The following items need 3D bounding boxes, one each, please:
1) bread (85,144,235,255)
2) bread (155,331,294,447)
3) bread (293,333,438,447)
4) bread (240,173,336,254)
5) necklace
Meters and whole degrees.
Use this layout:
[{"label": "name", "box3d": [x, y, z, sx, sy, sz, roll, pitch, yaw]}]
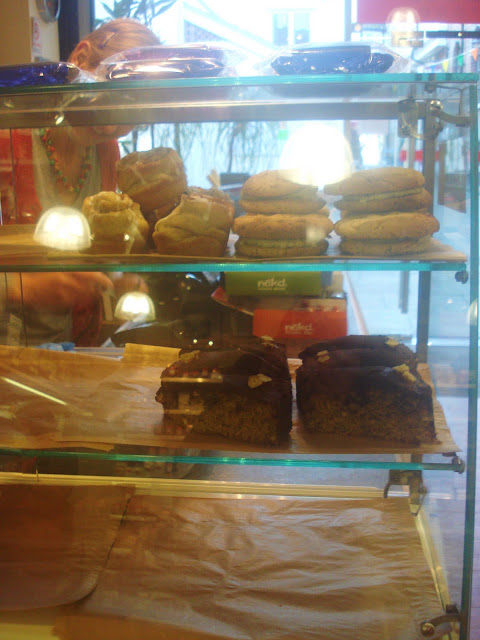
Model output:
[{"label": "bread", "box3d": [-0.142, -0.210, 1.100, 0.252, 0.220, 0.082, 10, -29, 4]}, {"label": "bread", "box3d": [-0.009, 0.145, 1.331, 0.381, 0.149, 0.374, -3, 14, -18]}, {"label": "bread", "box3d": [0.279, 0.135, 1.285, 0.349, 0.159, 0.370, -2, 12, -29]}, {"label": "bread", "box3d": [0.077, -0.188, 1.072, 0.171, 0.135, 0.171, 8, 15, 40]}, {"label": "necklace", "box3d": [-0.386, -0.357, 1.291, 0.128, 0.144, 0.065, -7, 2, -23]}]
